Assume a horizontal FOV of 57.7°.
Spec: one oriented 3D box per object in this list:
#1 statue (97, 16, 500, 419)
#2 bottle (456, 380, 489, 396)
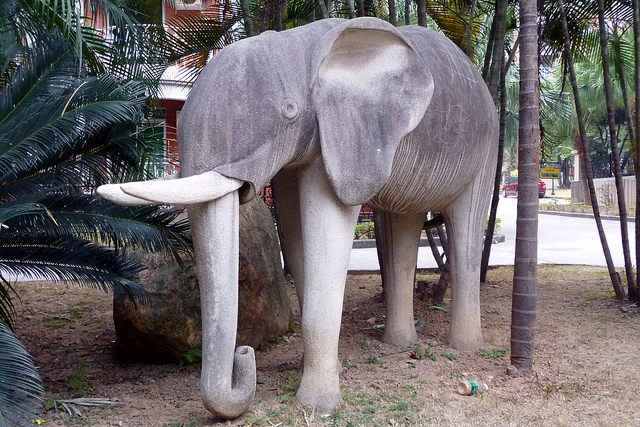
[{"bbox_3d":[0.115,-0.024,4.588,2.885,2.973,0.996,-12,16,-38],"label":"statue"},{"bbox_3d":[1.246,1.404,4.751,0.202,0.090,0.116,-1,29,-17],"label":"bottle"}]
